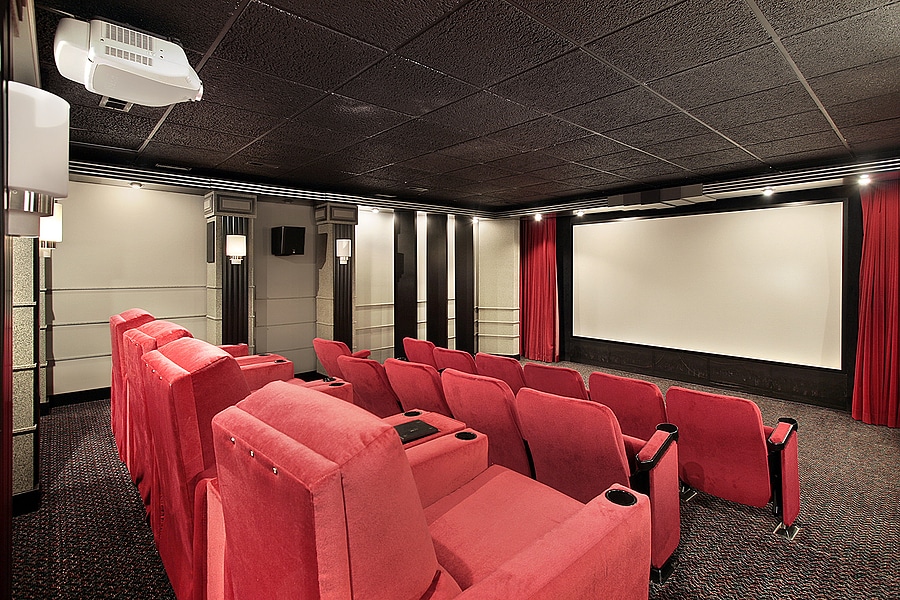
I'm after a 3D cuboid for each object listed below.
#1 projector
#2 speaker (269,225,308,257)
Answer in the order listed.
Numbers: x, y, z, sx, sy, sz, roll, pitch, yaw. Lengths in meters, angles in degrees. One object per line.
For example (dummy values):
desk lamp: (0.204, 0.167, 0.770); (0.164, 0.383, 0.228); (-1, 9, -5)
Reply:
projector: (-2.078, -1.505, 3.430); (0.814, 0.319, 0.455); (5, -16, -38)
speaker: (-2.364, -0.763, 7.930); (0.414, 0.559, 0.582); (-4, -5, 29)
